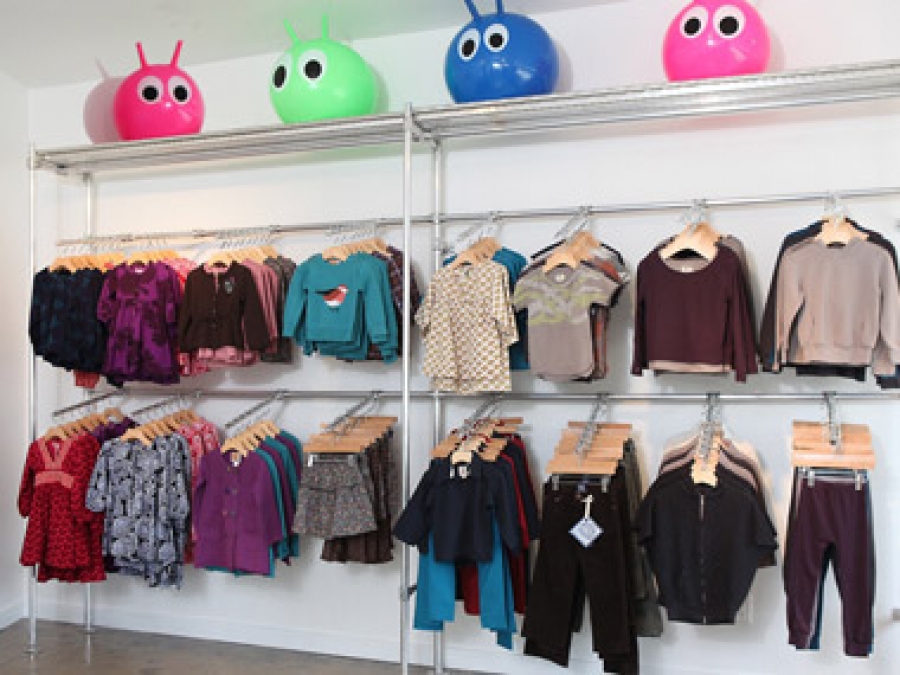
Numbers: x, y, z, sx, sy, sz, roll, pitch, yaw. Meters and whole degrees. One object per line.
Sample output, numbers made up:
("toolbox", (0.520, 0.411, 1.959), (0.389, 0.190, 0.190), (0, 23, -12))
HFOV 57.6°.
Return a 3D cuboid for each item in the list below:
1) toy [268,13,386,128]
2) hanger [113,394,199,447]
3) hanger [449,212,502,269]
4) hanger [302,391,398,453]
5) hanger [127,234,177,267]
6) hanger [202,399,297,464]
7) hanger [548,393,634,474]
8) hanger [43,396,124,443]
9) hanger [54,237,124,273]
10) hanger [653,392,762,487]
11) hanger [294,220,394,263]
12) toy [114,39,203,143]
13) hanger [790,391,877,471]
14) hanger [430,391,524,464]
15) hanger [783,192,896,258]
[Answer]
("toy", (-0.703, -1.403, 4.700), (0.563, 0.618, 0.580), (-5, 2, 20))
("hanger", (-1.692, 0.514, 4.836), (0.255, 0.116, 0.352), (-12, 7, 19))
("hanger", (0.146, -0.520, 4.523), (0.252, 0.316, 0.299), (-2, -5, 13))
("hanger", (-0.533, 0.492, 4.530), (0.266, 0.154, 0.419), (2, 16, 17))
("hanger", (-1.807, -0.524, 5.053), (0.206, 0.157, 0.308), (0, -2, -4))
("hanger", (-1.151, 0.537, 4.782), (0.636, 0.261, 0.197), (-37, -15, 30))
("hanger", (0.715, 0.495, 4.154), (0.380, 0.387, 0.555), (-2, -5, 14))
("hanger", (-2.199, 0.519, 4.917), (0.272, 0.144, 0.382), (-13, 14, 35))
("hanger", (-2.248, -0.510, 5.105), (0.302, 0.139, 0.406), (2, 1, 11))
("hanger", (1.302, 0.539, 4.149), (0.521, 0.644, 0.356), (-2, -11, 12))
("hanger", (-0.608, -0.557, 4.792), (0.601, 0.271, 0.184), (1, 3, 33))
("toy", (-1.689, -1.341, 4.824), (0.575, 0.728, 0.544), (-3, 4, -20))
("hanger", (1.822, 0.490, 3.913), (0.333, 0.218, 0.348), (0, 18, 11))
("hanger", (0.149, 0.448, 4.305), (0.270, 0.135, 0.399), (-7, 14, 16))
("hanger", (1.942, -0.553, 4.044), (0.340, 0.238, 0.023), (1, -11, 12))
